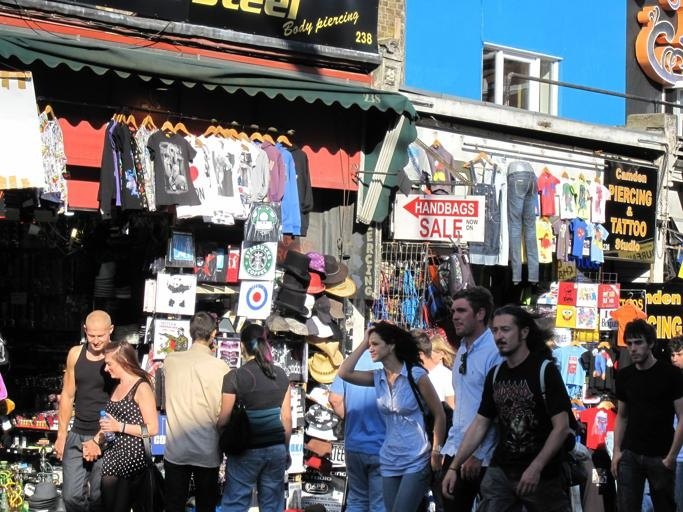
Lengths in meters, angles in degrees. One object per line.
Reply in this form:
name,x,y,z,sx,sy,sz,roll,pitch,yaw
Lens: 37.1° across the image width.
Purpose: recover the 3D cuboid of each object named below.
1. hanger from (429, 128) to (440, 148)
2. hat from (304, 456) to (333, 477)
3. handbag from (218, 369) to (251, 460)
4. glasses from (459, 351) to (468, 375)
hanger,1.421,-1.763,15.281,0.160,0.271,0.059,2,-17,-11
hat,-0.302,2.808,13.583,0.356,0.274,0.136,0,-2,0
handbag,-1.163,1.714,11.016,0.372,0.933,0.157,-1,-2,16
glasses,1.280,1.125,10.520,0.061,0.199,0.115,4,-32,2
